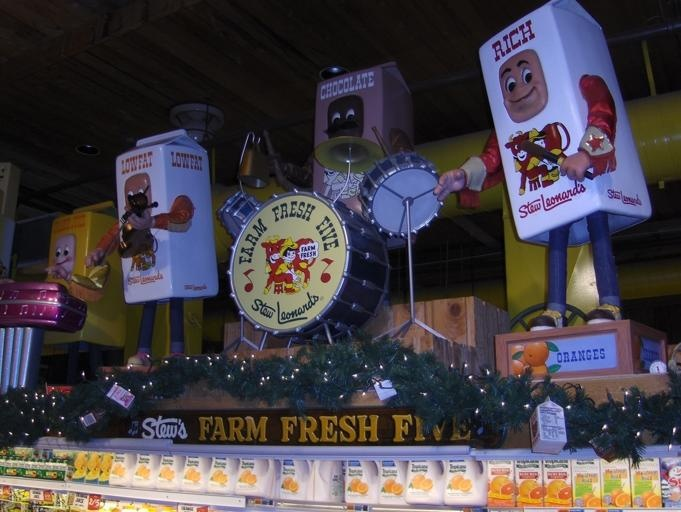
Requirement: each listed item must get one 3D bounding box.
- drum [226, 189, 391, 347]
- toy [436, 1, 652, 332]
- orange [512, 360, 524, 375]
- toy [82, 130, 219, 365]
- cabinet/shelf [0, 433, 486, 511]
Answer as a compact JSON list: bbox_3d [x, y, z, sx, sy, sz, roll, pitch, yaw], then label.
[{"bbox_3d":[-0.158,0.084,3.718,0.597,0.715,0.256,-30,-18,18],"label":"drum"},{"bbox_3d":[1.118,-0.461,3.587,0.929,1.756,0.515,-10,-17,29],"label":"toy"},{"bbox_3d":[0.846,0.534,3.179,0.041,0.050,0.059,9,26,23],"label":"orange"},{"bbox_3d":[-1.225,-0.034,4.543,0.649,1.661,0.772,9,-18,-35],"label":"toy"},{"bbox_3d":[-0.543,1.064,3.338,2.530,0.379,0.214,-10,-17,25],"label":"cabinet/shelf"}]
